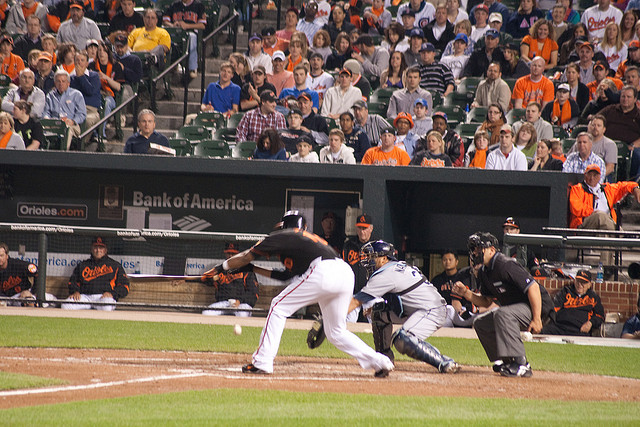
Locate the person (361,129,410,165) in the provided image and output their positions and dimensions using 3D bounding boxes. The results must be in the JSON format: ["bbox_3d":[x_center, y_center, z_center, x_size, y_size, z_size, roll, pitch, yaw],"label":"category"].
[{"bbox_3d":[1.440,-1.392,35.064,1.216,0.882,0.499,3,1,19],"label":"person"}]

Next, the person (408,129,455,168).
[{"bbox_3d":[2.369,-1.272,34.942,1.038,0.835,0.507,-1,-21,15],"label":"person"}]

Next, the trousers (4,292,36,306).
[{"bbox_3d":[-6.181,1.822,34.573,0.575,0.288,0.215,3,-3,-9],"label":"trousers"}]

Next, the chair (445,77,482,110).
[{"bbox_3d":[3.168,-2.729,37.312,0.650,1.012,0.706,0,1,18],"label":"chair"}]

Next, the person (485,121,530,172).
[{"bbox_3d":[3.875,-1.245,34.757,0.725,1.167,0.564,3,-8,16],"label":"person"}]

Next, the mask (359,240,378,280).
[{"bbox_3d":[0.908,0.857,30.909,0.421,0.538,0.366,6,-11,5],"label":"mask"}]

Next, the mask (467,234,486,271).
[{"bbox_3d":[2.873,0.731,30.861,0.255,0.560,0.371,-5,13,-5],"label":"mask"}]

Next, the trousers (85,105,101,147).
[{"bbox_3d":[-5.011,-1.934,36.914,0.302,0.949,0.326,3,-3,-9],"label":"trousers"}]

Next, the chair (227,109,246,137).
[{"bbox_3d":[-1.735,-2.002,36.739,0.454,0.696,0.467,1,7,-7],"label":"chair"}]

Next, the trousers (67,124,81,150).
[{"bbox_3d":[-5.337,-1.666,36.350,0.141,0.605,0.540,1,-4,21],"label":"trousers"}]

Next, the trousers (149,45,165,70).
[{"bbox_3d":[-3.739,-3.608,38.450,0.182,0.557,0.342,-1,2,1],"label":"trousers"}]

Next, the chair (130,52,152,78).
[{"bbox_3d":[-4.125,-3.443,38.534,0.481,0.558,0.535,0,1,0],"label":"chair"}]

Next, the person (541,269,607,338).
[{"bbox_3d":[5.090,1.898,33.607,1.136,1.658,0.799,7,13,-5],"label":"person"}]

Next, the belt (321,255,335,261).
[{"bbox_3d":[0.144,0.845,30.356,0.153,0.085,0.040,4,-8,-14],"label":"belt"}]

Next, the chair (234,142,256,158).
[{"bbox_3d":[-1.590,-1.355,35.806,0.347,0.359,0.304,4,-2,15],"label":"chair"}]

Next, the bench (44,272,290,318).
[{"bbox_3d":[-3.954,1.757,34.799,3.772,1.033,0.564,0,9,13],"label":"bench"}]

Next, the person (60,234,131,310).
[{"bbox_3d":[-4.596,1.261,34.522,1.208,1.737,1.096,2,-10,-4],"label":"person"}]

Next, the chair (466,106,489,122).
[{"bbox_3d":[3.432,-2.178,36.581,0.324,0.488,0.372,0,1,7],"label":"chair"}]

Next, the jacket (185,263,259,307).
[{"bbox_3d":[-2.140,1.553,34.214,0.968,1.327,1.689,-2,-1,18],"label":"jacket"}]

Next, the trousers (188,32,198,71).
[{"bbox_3d":[-2.956,-3.802,38.991,0.136,0.921,0.552,1,-3,11],"label":"trousers"}]

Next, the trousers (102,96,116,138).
[{"bbox_3d":[-4.689,-2.166,37.238,0.227,0.977,0.492,2,-3,-1],"label":"trousers"}]

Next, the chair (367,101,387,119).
[{"bbox_3d":[1.313,-2.340,37.315,0.319,0.460,0.359,-4,-10,35],"label":"chair"}]

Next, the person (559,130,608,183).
[{"bbox_3d":[5.463,-1.199,34.684,0.926,1.078,0.983,2,-3,12],"label":"person"}]
